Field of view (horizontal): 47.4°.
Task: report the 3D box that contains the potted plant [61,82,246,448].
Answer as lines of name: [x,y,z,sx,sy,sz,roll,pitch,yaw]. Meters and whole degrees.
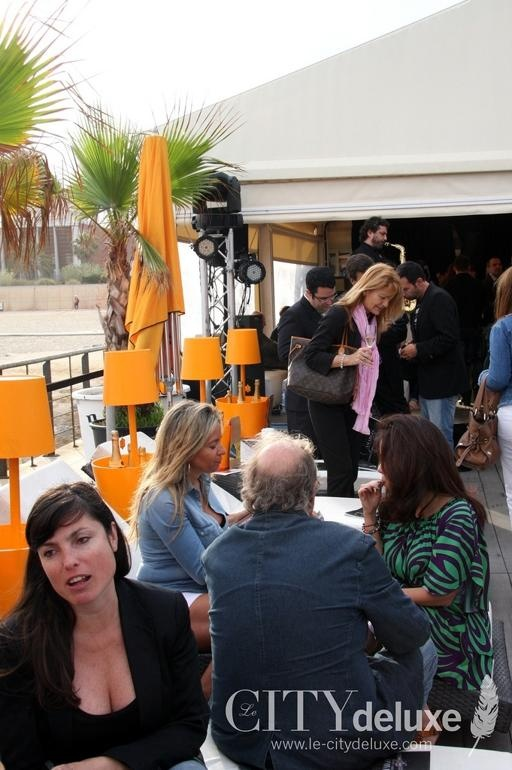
potted plant: [-1.080,-1.047,4.685,1.295,1.509,1.325,-11,32,-22]

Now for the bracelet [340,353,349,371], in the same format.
bracelet: [0.517,-0.150,3.422,0.029,0.079,0.066,0,16,37]

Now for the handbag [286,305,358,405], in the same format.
handbag: [0.385,-0.210,3.576,0.399,0.526,0.173,5,-6,14]

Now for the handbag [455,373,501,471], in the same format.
handbag: [1.318,0.220,3.412,0.255,0.516,0.300,-1,20,10]

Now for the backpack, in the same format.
backpack: [0.425,-0.100,3.522,0.348,0.411,0.147,19,19,14]

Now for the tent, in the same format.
tent: [-0.791,-0.944,4.459,0.426,1.855,1.065,-2,4,1]
